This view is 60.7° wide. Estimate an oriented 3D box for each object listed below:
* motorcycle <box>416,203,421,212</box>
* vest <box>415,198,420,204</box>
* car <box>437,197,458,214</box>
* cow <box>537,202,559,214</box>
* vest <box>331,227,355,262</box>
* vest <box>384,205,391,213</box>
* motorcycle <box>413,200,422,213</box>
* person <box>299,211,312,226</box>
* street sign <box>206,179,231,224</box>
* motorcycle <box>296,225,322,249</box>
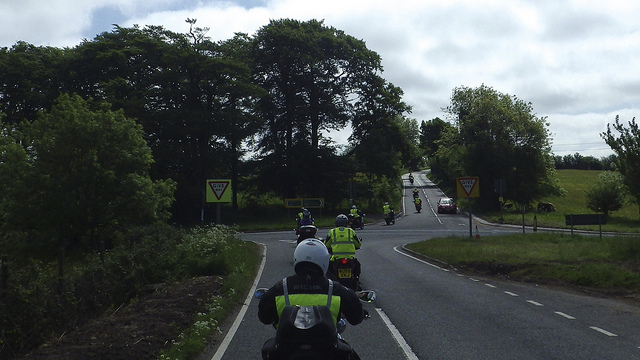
[{"bbox_3d":[13.045,3.670,72.961,0.479,1.162,0.950,-2,-7,7],"label":"motorcycle"},{"bbox_3d":[13.088,2.829,74.077,0.559,0.627,0.775,13,7,16],"label":"vest"},{"bbox_3d":[16.422,3.442,71.019,2.261,1.946,1.916,-3,-8,13],"label":"car"},{"bbox_3d":[30.016,3.980,72.794,3.125,1.611,1.992,-1,0,-10],"label":"cow"},{"bbox_3d":[1.123,3.253,27.391,1.367,1.819,0.963,-1,-21,-1],"label":"vest"},{"bbox_3d":[7.004,2.984,57.550,0.518,0.765,1.096,-2,-8,5],"label":"vest"},{"bbox_3d":[13.309,3.607,75.012,1.410,1.620,2.511,1,3,9],"label":"motorcycle"},{"bbox_3d":[-0.937,2.486,35.270,0.613,0.921,1.923,-1,-8,-6],"label":"person"},{"bbox_3d":[-6.891,1.404,36.985,1.492,2.999,1.796,-1,-7,-8],"label":"street sign"},{"bbox_3d":[-0.632,2.799,27.326,0.960,1.090,1.902,1,-7,-1],"label":"motorcycle"}]
